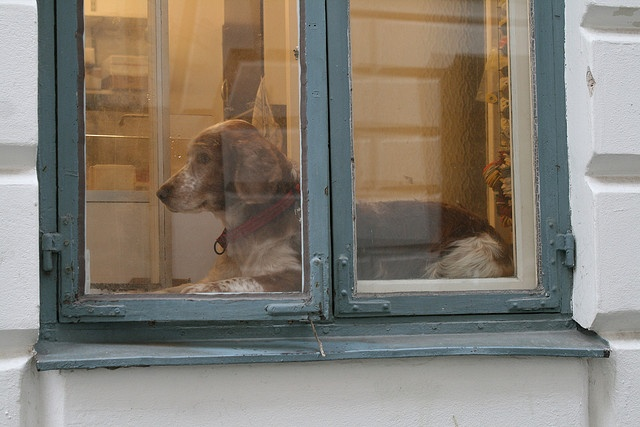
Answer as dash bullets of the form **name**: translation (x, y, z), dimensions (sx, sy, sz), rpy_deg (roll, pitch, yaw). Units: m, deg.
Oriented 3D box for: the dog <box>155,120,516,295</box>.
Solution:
- **dog**: translation (0.111, 0.001, 5.539), dimensions (1.963, 0.733, 0.574), rpy_deg (1, -2, -21)
